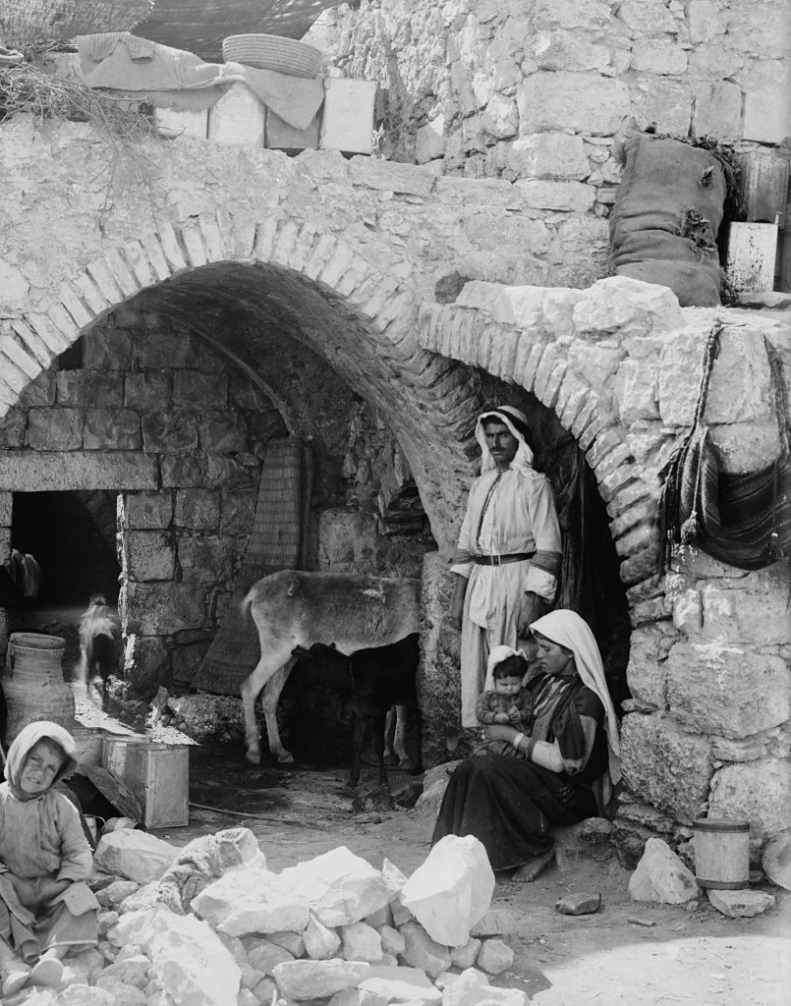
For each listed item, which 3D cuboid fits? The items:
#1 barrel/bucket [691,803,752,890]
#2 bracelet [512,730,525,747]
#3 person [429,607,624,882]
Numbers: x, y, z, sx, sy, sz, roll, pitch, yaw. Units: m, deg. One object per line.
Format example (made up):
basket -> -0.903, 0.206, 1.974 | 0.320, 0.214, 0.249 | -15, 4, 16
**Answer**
barrel/bucket -> 1.067, 1.143, 4.110 | 0.181, 0.218, 0.188 | -1, -3, 0
bracelet -> 0.456, 0.880, 4.647 | 0.030, 0.049, 0.045 | 11, -6, 15
person -> 0.581, 1.007, 5.211 | 0.870, 1.363, 0.748 | 5, -6, -10
